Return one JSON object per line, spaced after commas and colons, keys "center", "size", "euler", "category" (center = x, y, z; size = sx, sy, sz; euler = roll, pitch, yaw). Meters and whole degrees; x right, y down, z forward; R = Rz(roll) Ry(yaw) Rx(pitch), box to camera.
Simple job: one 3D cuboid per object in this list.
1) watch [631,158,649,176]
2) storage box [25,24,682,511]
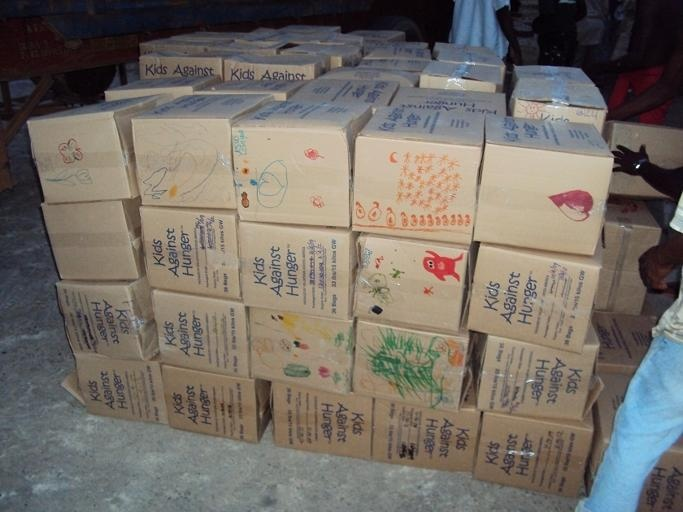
{"center": [1.499, -0.453, 2.874], "size": [0.047, 0.083, 0.048], "euler": [-4, 54, -31], "category": "watch"}
{"center": [-0.091, 0.496, 3.403], "size": [3.098, 1.885, 1.555], "euler": [6, 32, 9], "category": "storage box"}
